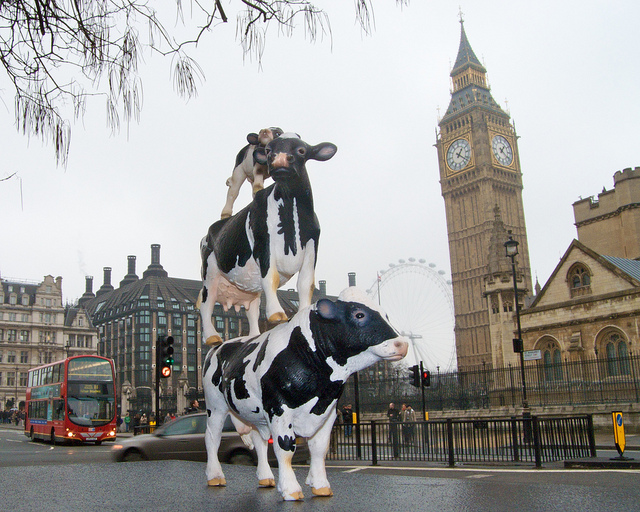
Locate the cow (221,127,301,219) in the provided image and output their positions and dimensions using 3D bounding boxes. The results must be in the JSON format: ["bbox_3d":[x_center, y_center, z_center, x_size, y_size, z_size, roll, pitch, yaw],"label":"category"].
[{"bbox_3d":[-0.823,-0.991,8.686,0.488,0.921,1.490,1,-12,-31],"label":"cow"}]

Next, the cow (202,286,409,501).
[{"bbox_3d":[-0.292,1.496,7.439,2.881,2.107,0.879,-15,-17,43],"label":"cow"}]

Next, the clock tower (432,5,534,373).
[{"bbox_3d":[19.829,-8.647,88.821,9.357,44.840,7.082,-3,-13,11],"label":"clock tower"}]

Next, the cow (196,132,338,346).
[{"bbox_3d":[-0.650,-0.035,8.097,0.894,1.952,2.595,3,-18,-33],"label":"cow"}]
